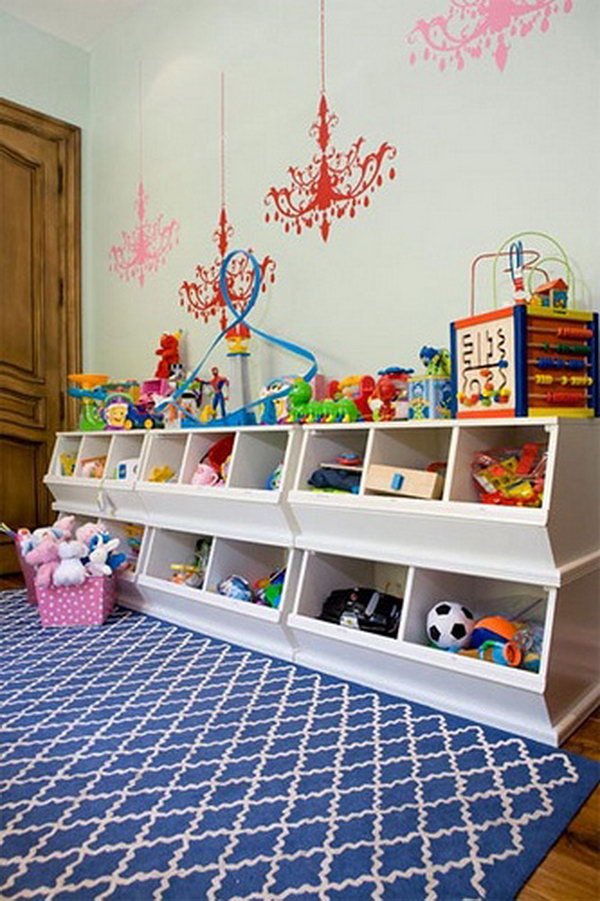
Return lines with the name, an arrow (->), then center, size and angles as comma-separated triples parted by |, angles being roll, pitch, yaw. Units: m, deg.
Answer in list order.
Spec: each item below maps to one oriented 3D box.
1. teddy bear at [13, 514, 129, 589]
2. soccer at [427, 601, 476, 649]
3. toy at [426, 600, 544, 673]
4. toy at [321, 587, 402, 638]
teddy bear -> -0.941, 0.386, 2.590 | 0.316, 0.168, 0.319 | 3, 16, -30
soccer -> 0.391, 0.462, 1.723 | 0.114, 0.132, 0.116 | -1, 35, 7
toy -> 0.483, 0.451, 1.665 | 0.140, 0.102, 0.224 | 0, 4, -27
toy -> 0.176, 0.469, 1.939 | 0.198, 0.072, 0.121 | 6, 13, 38
